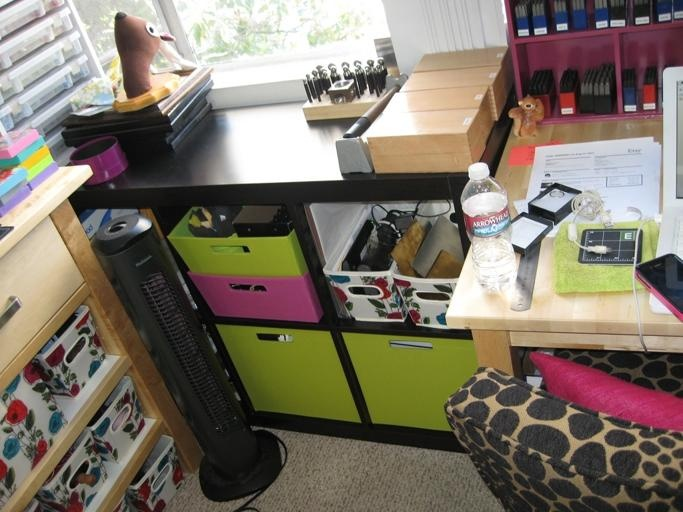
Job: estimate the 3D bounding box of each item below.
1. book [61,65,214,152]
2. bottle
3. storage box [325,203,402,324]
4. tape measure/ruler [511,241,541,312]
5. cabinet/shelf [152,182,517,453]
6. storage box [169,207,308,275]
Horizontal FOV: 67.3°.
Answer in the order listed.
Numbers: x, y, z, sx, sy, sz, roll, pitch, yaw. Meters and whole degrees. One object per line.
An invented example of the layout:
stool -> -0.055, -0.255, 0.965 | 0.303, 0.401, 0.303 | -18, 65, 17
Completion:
book -> -0.771, -0.569, 2.090 | 0.392, 0.132, 0.435 | -3, 35, 9
bottle -> 0.406, -0.054, 1.424 | 0.159, 0.375, 0.141 | 7, 34, 32
storage box -> 0.098, 0.029, 1.972 | 0.234, 0.198, 0.389 | -2, 52, 13
tape measure/ruler -> 0.478, 0.057, 1.325 | 0.030, 0.002, 0.218 | -3, 38, 29
cabinet/shelf -> 0.229, 0.033, 2.481 | 1.465, 1.381, 0.841 | 1, 37, 24
storage box -> -0.361, -0.035, 2.046 | 0.389, 0.326, 0.397 | -3, 35, 22
